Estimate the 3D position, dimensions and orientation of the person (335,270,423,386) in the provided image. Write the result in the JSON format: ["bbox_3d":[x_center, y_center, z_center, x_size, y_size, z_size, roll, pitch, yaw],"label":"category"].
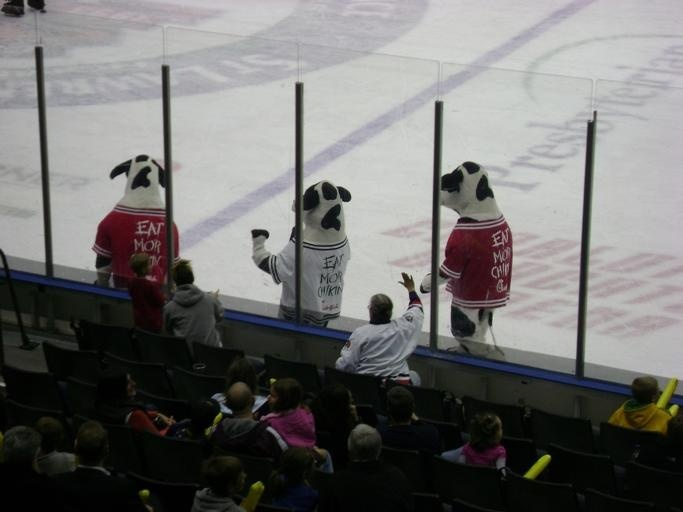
[{"bbox_3d":[0.364,0.839,13.584,1.002,1.205,0.744,-4,11,-20],"label":"person"}]

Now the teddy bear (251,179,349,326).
[{"bbox_3d":[-0.388,-0.019,14.123,1.013,1.474,0.453,3,0,10],"label":"teddy bear"}]
